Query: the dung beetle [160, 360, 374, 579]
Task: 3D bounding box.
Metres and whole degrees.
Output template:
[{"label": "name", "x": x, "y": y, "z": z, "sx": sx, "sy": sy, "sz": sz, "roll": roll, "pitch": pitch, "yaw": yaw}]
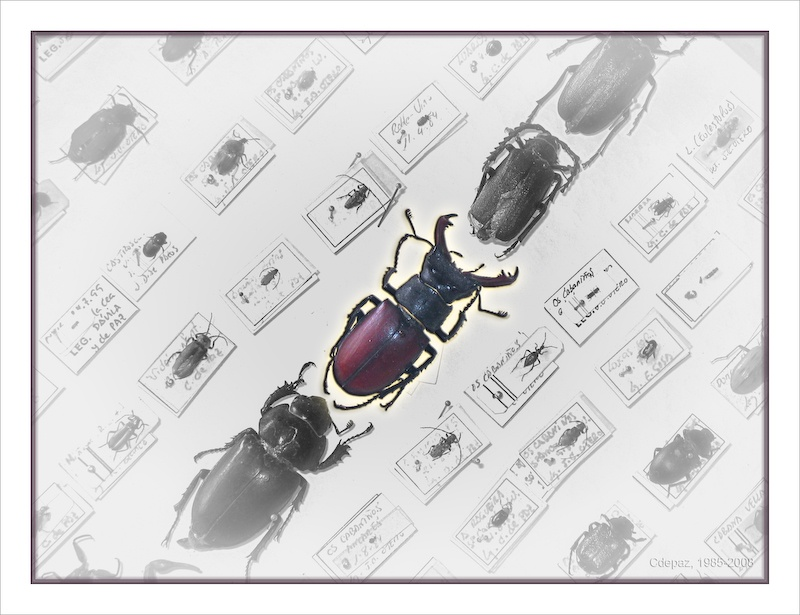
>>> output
[{"label": "dung beetle", "x": -1.123, "y": 1.375, "z": 8.114, "sx": 1.128, "sy": 1.991, "sz": 0.468, "roll": 39, "pitch": 3, "yaw": 1}]
